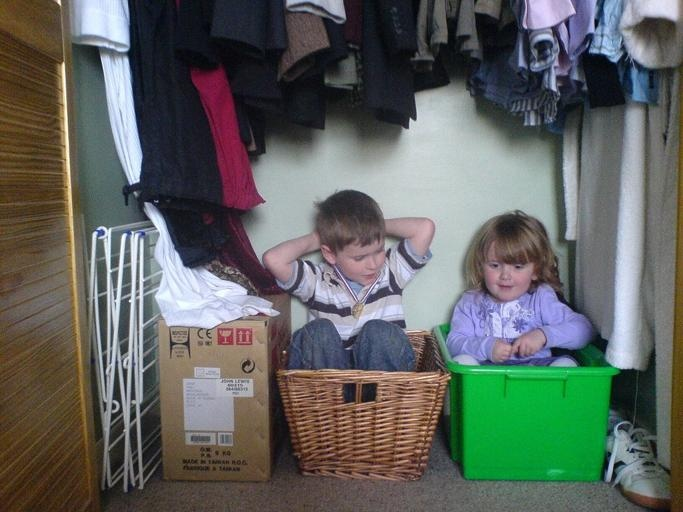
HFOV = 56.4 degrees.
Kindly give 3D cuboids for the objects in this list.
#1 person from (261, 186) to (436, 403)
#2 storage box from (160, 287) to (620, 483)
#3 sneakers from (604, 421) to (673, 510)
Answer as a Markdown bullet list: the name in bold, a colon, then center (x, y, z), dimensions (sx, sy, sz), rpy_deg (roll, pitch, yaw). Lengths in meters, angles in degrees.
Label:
- **person**: center (0.055, 0.194, 2.536), dimensions (0.604, 1.269, 0.672), rpy_deg (-1, -20, 1)
- **storage box**: center (0.295, 0.434, 2.208), dimensions (1.016, 0.494, 0.708), rpy_deg (-2, 0, 2)
- **sneakers**: center (0.935, 0.669, 2.024), dimensions (0.178, 0.207, 0.171), rpy_deg (1, 4, 24)
